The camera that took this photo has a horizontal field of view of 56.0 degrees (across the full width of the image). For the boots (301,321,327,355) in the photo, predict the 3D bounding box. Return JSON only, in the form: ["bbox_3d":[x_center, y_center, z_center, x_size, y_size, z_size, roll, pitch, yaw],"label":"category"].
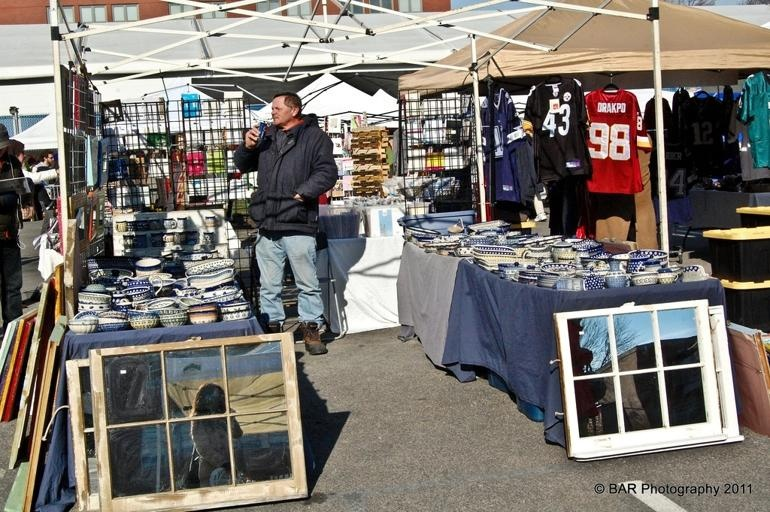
[{"bbox_3d":[-0.728,0.824,7.351,0.162,0.214,0.461,-2,17,-16],"label":"boots"}]

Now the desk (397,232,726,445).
[{"bbox_3d":[1.050,0.601,6.400,1.011,1.169,2.948,-11,11,-27],"label":"desk"}]

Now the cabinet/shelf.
[{"bbox_3d":[-1.975,-0.203,6.678,1.208,0.405,0.712,-2,14,-12],"label":"cabinet/shelf"}]

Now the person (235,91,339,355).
[{"bbox_3d":[-0.913,-0.273,7.140,0.961,2.584,0.569,-8,9,-12],"label":"person"}]

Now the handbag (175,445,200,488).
[{"bbox_3d":[-1.293,1.395,4.752,0.144,0.244,0.059,-9,9,-20],"label":"handbag"}]
